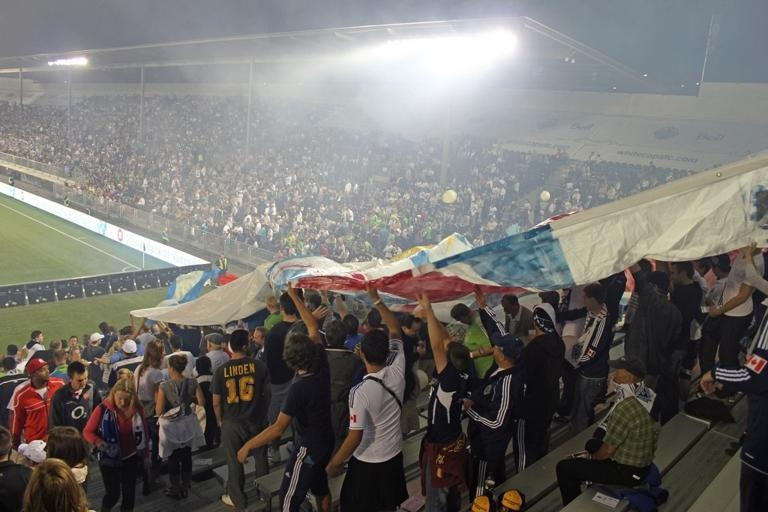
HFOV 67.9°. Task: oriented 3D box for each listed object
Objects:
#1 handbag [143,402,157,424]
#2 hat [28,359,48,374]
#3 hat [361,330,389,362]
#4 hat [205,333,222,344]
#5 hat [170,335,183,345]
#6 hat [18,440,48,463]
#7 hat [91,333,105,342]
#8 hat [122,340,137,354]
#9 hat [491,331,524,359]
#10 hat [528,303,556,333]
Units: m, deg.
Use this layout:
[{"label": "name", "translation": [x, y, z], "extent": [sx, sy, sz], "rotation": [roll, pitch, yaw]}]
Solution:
[{"label": "handbag", "translation": [-3.120, 2.082, 7.619], "extent": [0.232, 0.237, 0.080], "rotation": [-1, -5, 5]}, {"label": "hat", "translation": [-4.595, 1.450, 7.549], "extent": [0.192, 0.196, 0.302], "rotation": [-4, -7, -36]}, {"label": "hat", "translation": [-0.082, 0.871, 5.817], "extent": [0.255, 0.303, 0.317], "rotation": [1, 27, -1]}, {"label": "hat", "translation": [-2.331, 1.138, 7.849], "extent": [0.212, 0.148, 0.180], "rotation": [-9, -6, 3]}, {"label": "hat", "translation": [-2.916, 1.184, 8.036], "extent": [0.125, 0.152, 0.152], "rotation": [-4, -29, -27]}, {"label": "hat", "translation": [-4.122, 2.302, 6.693], "extent": [0.270, 0.252, 0.293], "rotation": [-6, -6, -28]}, {"label": "hat", "translation": [-5.694, 1.622, 11.386], "extent": [0.184, 0.133, 0.258], "rotation": [0, 14, 22]}, {"label": "hat", "translation": [-4.104, 1.460, 9.222], "extent": [0.175, 0.225, 0.348], "rotation": [-6, -6, -28]}, {"label": "hat", "translation": [1.291, 0.923, 5.952], "extent": [0.215, 0.296, 0.166], "rotation": [-23, -28, -40]}, {"label": "hat", "translation": [1.888, 0.701, 6.689], "extent": [0.264, 0.372, 0.275], "rotation": [-28, -7, 3]}]
